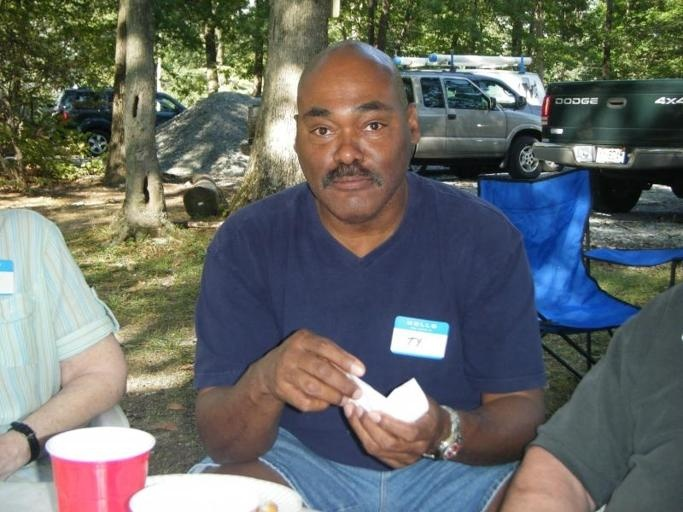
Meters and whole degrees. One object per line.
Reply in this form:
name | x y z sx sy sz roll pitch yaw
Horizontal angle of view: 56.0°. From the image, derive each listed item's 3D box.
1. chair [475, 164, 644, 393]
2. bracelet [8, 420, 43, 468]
chair | 1.449 0.200 4.518 1.006 1.711 1.172 -3 0 20
bracelet | -1.079 0.651 2.217 0.038 0.126 0.122 -23 64 -32
